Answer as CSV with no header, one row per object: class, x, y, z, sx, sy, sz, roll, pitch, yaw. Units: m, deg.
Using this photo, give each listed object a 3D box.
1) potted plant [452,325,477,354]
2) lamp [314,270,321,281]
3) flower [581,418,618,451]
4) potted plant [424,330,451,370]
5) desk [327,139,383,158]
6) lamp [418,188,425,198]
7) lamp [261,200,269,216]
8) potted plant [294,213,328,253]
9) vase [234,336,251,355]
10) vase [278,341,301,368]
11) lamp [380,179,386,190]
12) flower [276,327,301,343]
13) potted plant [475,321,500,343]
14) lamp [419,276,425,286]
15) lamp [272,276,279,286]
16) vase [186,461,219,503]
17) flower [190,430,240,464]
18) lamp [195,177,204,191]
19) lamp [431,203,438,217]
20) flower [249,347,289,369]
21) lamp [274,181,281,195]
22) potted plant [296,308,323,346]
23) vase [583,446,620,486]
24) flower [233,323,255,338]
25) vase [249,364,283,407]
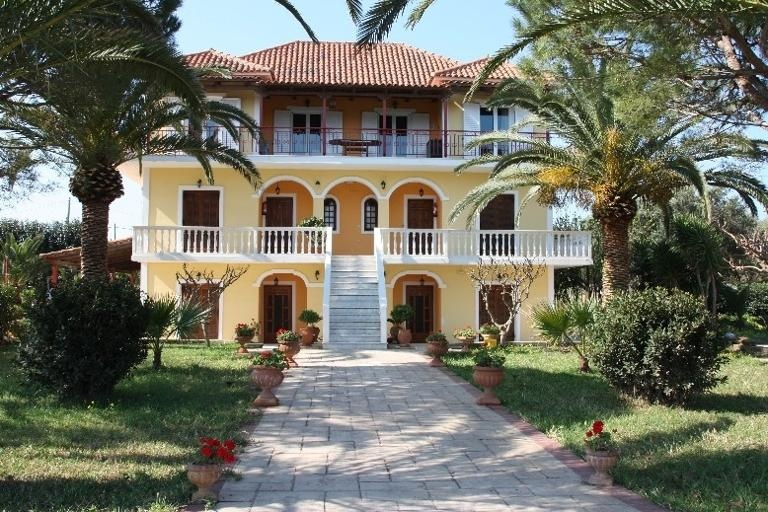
potted plant,2.626,2.725,23.971,0.812,0.814,0.838,0,-10,15
lamp,-2.477,0.677,27.029,0.225,0.363,0.062,-1,7,-8
flower,3.894,3.226,13.103,0.582,0.646,0.617,4,-5,3
potted plant,1.524,2.717,21.238,0.769,1.139,0.784,1,-9,-4
desk,-1.117,-4.419,29.179,2.034,0.628,1.208,0,7,-5
lamp,1.535,-2.646,29.857,0.265,0.375,0.294,-3,9,-10
lamp,-4.776,-1.960,29.082,0.135,0.592,0.545,2,7,11
potted plant,-2.644,-0.816,27.297,0.886,1.255,1.817,0,7,-6
vase,-4.502,2.804,23.010,0.561,0.495,0.571,0,-6,-2
vase,-2.602,2.778,20.450,0.657,0.733,0.671,0,-7,0
lamp,-0.037,-2.803,28.475,0.207,0.350,0.069,0,7,1
flower,-2.704,2.267,20.578,0.612,0.350,0.838,0,7,-5
potted plant,3.486,2.591,23.930,0.625,0.684,1.498,2,7,11
lamp,1.489,0.932,28.370,0.208,0.419,0.436,1,7,3
lamp,-4.202,0.948,28.197,0.204,0.335,0.192,-1,7,-10
vase,-2.926,3.673,11.847,0.594,0.553,0.603,-3,-11,11
flower,-2.734,3.171,12.074,0.821,0.521,0.776,0,-2,4
lamp,-7.065,-2.804,27.814,0.318,0.440,0.325,-1,-9,-4
lamp,2.107,-1.885,29.614,0.119,0.570,0.450,-2,7,-14
flower,-2.523,2.286,16.263,0.532,0.307,0.543,2,-5,0
lamp,-4.268,-2.748,29.161,0.177,0.481,0.250,2,7,17
potted plant,-2.543,2.401,25.419,0.769,1.255,0.865,-7,4,-35
vase,3.686,3.597,12.506,0.577,0.607,0.574,2,-10,-1
flower,-4.471,2.345,22.947,0.719,0.549,0.712,-2,-4,0
vase,-2.606,2.855,16.294,0.823,0.887,0.840,1,-2,-3
